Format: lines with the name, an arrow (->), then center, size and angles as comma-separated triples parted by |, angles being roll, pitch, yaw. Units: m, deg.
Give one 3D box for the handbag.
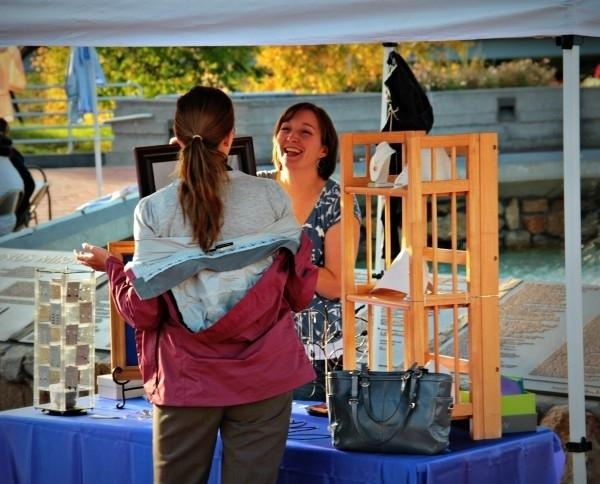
handbag -> 0.472, 0.911, 6.815 | 0.767, 0.591, 0.415 | 2, 4, 13
